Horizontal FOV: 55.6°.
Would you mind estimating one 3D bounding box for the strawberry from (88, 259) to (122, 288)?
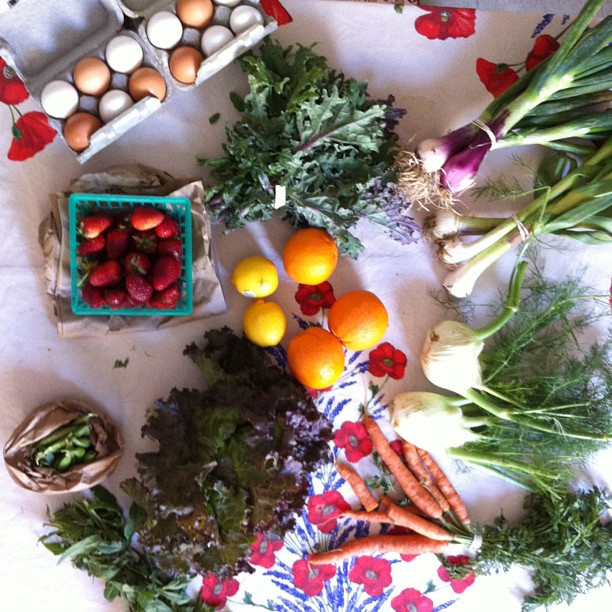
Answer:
[{"bbox_3d":[-0.472,-0.083,1.384,0.072,0.074,0.039,-37,115,-26],"label":"strawberry"}]

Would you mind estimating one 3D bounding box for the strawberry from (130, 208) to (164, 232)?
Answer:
[{"bbox_3d":[-0.374,-0.208,1.384,0.077,0.034,0.050,-3,40,-8],"label":"strawberry"}]

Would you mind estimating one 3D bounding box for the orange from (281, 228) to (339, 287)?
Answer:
[{"bbox_3d":[0.017,-0.127,1.461,0.153,0.157,0.127,10,92,35],"label":"orange"}]

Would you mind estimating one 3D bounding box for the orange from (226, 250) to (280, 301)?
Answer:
[{"bbox_3d":[-0.116,-0.072,1.477,0.130,0.152,0.100,2,94,-26],"label":"orange"}]

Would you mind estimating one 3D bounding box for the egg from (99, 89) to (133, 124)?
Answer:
[{"bbox_3d":[-0.453,-0.484,1.430,0.087,0.090,0.068,-7,76,-6],"label":"egg"}]

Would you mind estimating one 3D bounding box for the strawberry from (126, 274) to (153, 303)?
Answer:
[{"bbox_3d":[-0.395,-0.044,1.374,0.057,0.042,0.068,-37,105,-9],"label":"strawberry"}]

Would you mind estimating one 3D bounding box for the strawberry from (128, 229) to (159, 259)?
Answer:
[{"bbox_3d":[-0.387,-0.155,1.406,0.082,0.043,0.064,11,93,-18],"label":"strawberry"}]

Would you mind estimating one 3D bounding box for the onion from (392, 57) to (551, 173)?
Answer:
[{"bbox_3d":[0.424,-0.496,1.486,0.596,0.108,0.080,-25,71,7],"label":"onion"}]

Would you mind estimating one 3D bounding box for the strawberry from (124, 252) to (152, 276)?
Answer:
[{"bbox_3d":[-0.392,-0.105,1.413,0.060,0.064,0.054,32,100,-18],"label":"strawberry"}]

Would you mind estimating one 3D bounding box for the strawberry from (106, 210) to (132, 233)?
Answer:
[{"bbox_3d":[-0.450,-0.207,1.420,0.062,0.058,0.051,0,89,-10],"label":"strawberry"}]

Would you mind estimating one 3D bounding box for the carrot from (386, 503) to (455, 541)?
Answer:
[{"bbox_3d":[0.310,0.567,1.529,0.161,0.040,0.035,22,113,0],"label":"carrot"}]

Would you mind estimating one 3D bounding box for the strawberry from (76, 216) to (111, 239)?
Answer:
[{"bbox_3d":[-0.510,-0.190,1.386,0.087,0.046,0.050,-7,72,-1],"label":"strawberry"}]

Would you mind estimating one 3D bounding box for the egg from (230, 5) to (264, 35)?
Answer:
[{"bbox_3d":[-0.132,-0.688,1.392,0.078,0.066,0.069,0,91,-2],"label":"egg"}]

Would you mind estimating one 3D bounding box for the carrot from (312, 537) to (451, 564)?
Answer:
[{"bbox_3d":[0.193,0.643,1.529,0.401,0.042,0.049,-4,46,-3],"label":"carrot"}]

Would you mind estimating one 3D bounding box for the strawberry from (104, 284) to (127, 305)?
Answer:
[{"bbox_3d":[-0.453,-0.030,1.387,0.060,0.053,0.048,10,99,-11],"label":"strawberry"}]

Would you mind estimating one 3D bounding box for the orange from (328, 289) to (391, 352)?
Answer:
[{"bbox_3d":[0.125,0.037,1.481,0.182,0.200,0.136,2,98,14],"label":"orange"}]

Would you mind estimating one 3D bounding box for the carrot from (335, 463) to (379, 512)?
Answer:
[{"bbox_3d":[0.137,0.473,1.522,0.057,0.043,0.174,-42,95,-10],"label":"carrot"}]

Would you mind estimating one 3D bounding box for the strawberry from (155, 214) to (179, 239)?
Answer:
[{"bbox_3d":[-0.336,-0.198,1.409,0.066,0.056,0.062,-2,92,-12],"label":"strawberry"}]

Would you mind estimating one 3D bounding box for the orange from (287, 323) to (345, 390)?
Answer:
[{"bbox_3d":[0.028,0.123,1.442,0.141,0.123,0.146,-19,74,-4],"label":"orange"}]

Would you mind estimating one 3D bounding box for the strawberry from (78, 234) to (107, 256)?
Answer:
[{"bbox_3d":[-0.509,-0.146,1.389,0.070,0.036,0.036,-28,101,-6],"label":"strawberry"}]

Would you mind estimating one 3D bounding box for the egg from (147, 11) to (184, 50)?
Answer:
[{"bbox_3d":[-0.334,-0.657,1.373,0.078,0.052,0.063,-10,72,-2],"label":"egg"}]

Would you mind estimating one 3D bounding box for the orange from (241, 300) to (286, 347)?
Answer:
[{"bbox_3d":[-0.091,0.043,1.486,0.147,0.133,0.131,-2,97,-15],"label":"orange"}]

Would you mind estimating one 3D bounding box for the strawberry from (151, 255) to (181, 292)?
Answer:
[{"bbox_3d":[-0.333,-0.076,1.419,0.052,0.067,0.080,38,66,-23],"label":"strawberry"}]
